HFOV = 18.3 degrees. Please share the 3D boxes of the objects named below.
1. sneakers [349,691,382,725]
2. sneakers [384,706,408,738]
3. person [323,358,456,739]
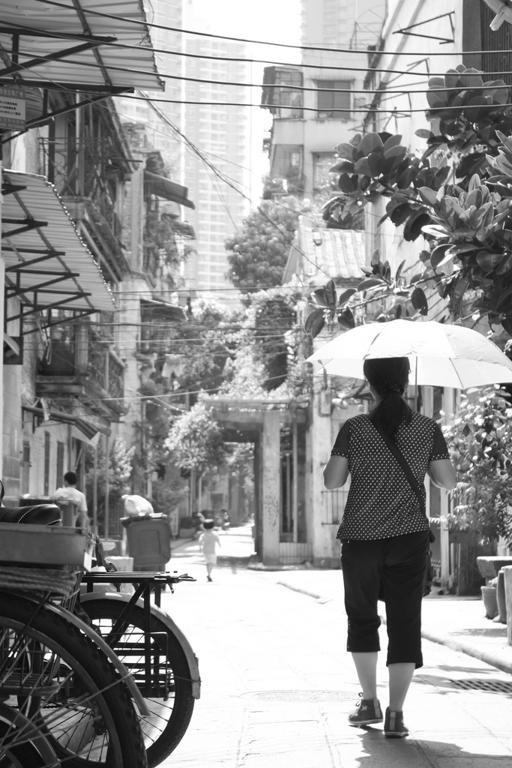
[{"bbox_3d":[0.580,1.694,8.197,0.094,0.182,0.241,8,-12,-37],"label":"sneakers"},{"bbox_3d":[0.717,1.717,7.999,0.073,0.118,0.191,0,-6,13],"label":"sneakers"},{"bbox_3d":[0.701,0.824,8.216,0.668,1.965,0.372,-2,-6,3],"label":"person"}]
